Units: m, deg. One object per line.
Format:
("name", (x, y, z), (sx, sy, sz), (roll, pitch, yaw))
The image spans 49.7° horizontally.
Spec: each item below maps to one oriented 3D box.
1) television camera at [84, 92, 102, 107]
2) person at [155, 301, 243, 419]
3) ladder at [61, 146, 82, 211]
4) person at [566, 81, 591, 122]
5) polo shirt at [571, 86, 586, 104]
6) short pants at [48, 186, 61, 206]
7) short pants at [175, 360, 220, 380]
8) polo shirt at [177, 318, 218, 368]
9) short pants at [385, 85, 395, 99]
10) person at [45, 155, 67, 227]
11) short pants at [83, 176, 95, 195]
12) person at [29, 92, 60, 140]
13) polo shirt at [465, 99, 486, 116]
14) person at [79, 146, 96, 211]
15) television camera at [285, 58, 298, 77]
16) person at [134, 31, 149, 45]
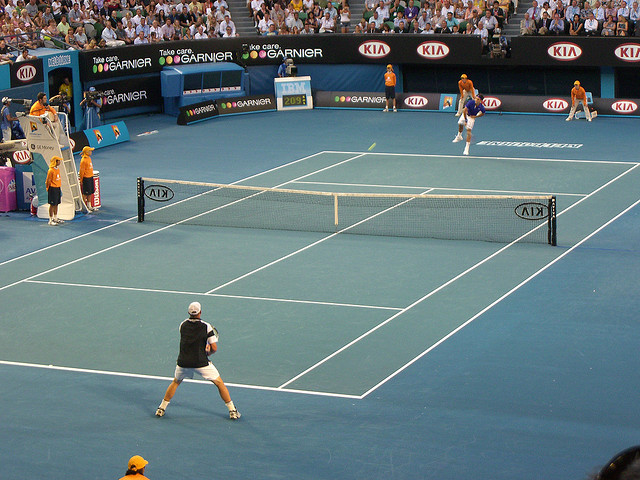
("television camera", (-9.399, -5.869, 28.552), (0.477, 0.693, 0.721), (7, 10, 34))
("person", (-2.043, 2.093, 11.686), (1.483, 1.966, 0.898), (4, 13, 7))
("ladder", (-7.434, -1.839, 20.736), (0.268, 1.927, 0.519), (-12, 17, -40))
("person", (12.144, -6.494, 32.468), (1.137, 1.853, 1.285), (0, 13, 8))
("polo shirt", (12.038, -6.720, 32.190), (0.590, 0.773, 0.498), (2, 13, 16))
("short pants", (-7.659, -1.284, 19.969), (0.328, 0.571, 0.299), (-6, 14, -21))
("short pants", (-1.891, 2.001, 10.589), (0.534, 0.350, 0.226), (3, 34, 3))
("polo shirt", (-1.896, 1.516, 10.449), (0.642, 0.716, 0.407), (6, 8, 6))
("short pants", (3.530, -7.432, 34.865), (0.642, 0.894, 0.508), (0, 7, 3))
("person", (-7.710, -1.432, 20.136), (0.544, 1.983, 0.710), (-6, 14, -19))
("short pants", (-6.968, -1.639, 20.912), (0.121, 0.529, 0.372), (11, 17, 42))
("person", (-8.194, -3.670, 20.572), (0.787, 1.352, 0.891), (-7, 14, -22))
("polo shirt", (5.825, -4.989, 26.095), (0.596, 0.569, 0.775), (2, 13, 13))
("person", (-7.005, -1.820, 20.841), (0.449, 1.961, 0.746), (-6, 13, -18))
("television camera", (-1.494, -8.959, 36.097), (0.578, 0.893, 0.974), (-2, 13, -5))
("person", (-8.914, -10.085, 34.507), (0.666, 0.667, 1.270), (-4, 13, -14))
